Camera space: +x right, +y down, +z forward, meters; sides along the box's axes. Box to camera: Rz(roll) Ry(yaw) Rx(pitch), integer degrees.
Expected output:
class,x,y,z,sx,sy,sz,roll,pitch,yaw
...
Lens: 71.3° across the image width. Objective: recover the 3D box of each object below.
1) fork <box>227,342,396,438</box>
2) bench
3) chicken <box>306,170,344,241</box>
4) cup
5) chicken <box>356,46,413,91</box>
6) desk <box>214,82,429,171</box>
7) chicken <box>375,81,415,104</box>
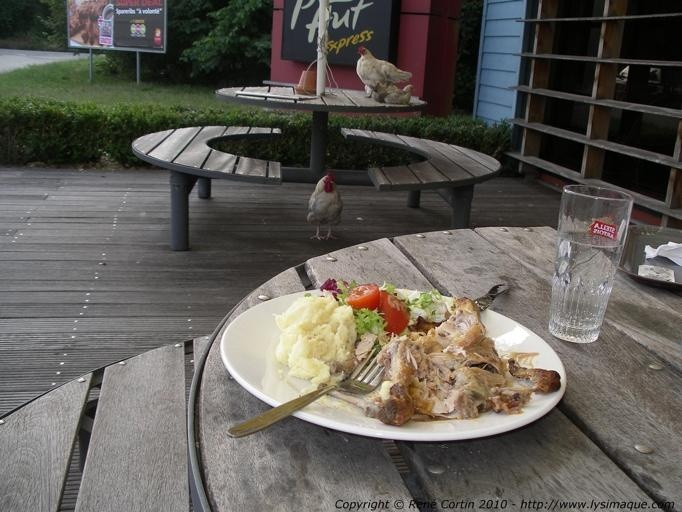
class,x,y,z,sx,sy,sz,roll,pitch,yaw
fork,-0.019,0.173,0.601,0.271,0.039,0.061,-19,29,-41
bench,-0.292,-0.287,4.176,2.247,1.513,2.256,-2,19,-14
chicken,-0.118,-0.361,3.650,0.260,0.463,0.418,1,8,-6
cup,0.424,0.006,0.849,0.112,0.301,0.124,9,11,29
chicken,0.364,-1.546,3.972,0.486,0.328,0.276,16,38,21
desk,-0.171,-1.240,3.880,1.157,0.492,1.118,7,26,9
chicken,0.440,-1.354,4.026,0.278,0.181,0.194,19,44,19
